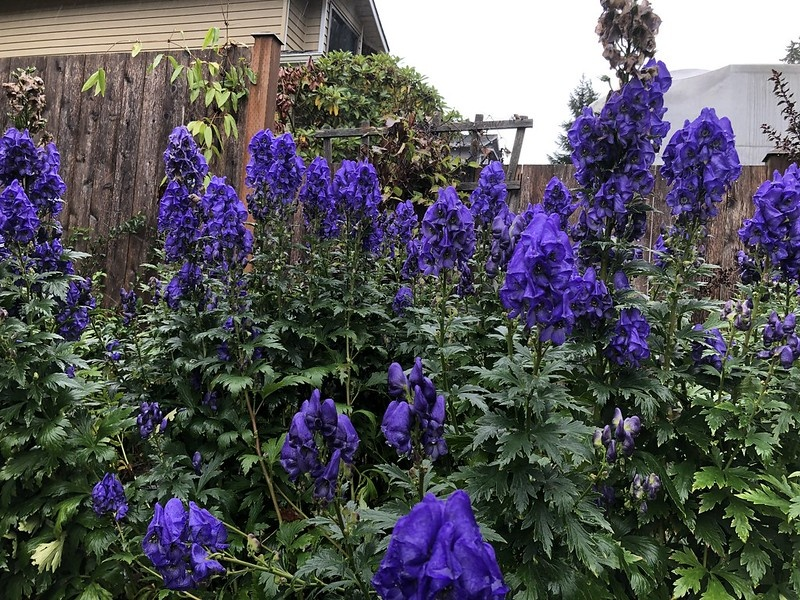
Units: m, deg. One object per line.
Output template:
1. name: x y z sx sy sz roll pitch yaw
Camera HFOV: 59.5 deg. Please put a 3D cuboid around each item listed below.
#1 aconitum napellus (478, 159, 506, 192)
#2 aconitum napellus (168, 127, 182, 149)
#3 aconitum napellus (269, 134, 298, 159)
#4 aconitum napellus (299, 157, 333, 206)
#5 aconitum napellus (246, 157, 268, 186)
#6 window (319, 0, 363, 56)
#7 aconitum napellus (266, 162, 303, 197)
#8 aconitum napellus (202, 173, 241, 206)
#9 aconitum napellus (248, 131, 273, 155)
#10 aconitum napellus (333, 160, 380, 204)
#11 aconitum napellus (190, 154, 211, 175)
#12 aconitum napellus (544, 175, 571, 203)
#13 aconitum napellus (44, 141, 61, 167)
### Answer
1. aconitum napellus: 0.837 -1.057 6.099 0.240 0.346 0.257 0 -4 -10
2. aconitum napellus: -1.924 -1.401 6.011 0.088 0.179 0.128 3 7 -33
3. aconitum napellus: -0.978 -1.320 5.999 0.188 0.214 0.221 -2 30 8
4. aconitum napellus: -0.719 -1.019 6.030 0.265 0.435 0.210 6 6 -8
5. aconitum napellus: -1.236 -1.112 6.092 0.198 0.237 0.102 -5 15 10
6. window: -1.465 -6.560 16.821 0.113 1.591 2.620 -8 18 20
7. aconitum napellus: -0.970 -1.027 5.952 0.268 0.309 0.284 1 7 -9
8. aconitum napellus: -1.480 -0.877 5.783 0.263 0.219 0.280 3 -4 -6
9. aconitum napellus: -1.190 -1.351 5.991 0.172 0.224 0.089 13 4 0
10. aconitum napellus: -0.368 -1.003 6.017 0.414 0.397 0.286 8 6 5
11. aconitum napellus: -1.760 -1.186 6.182 0.158 0.171 0.090 -16 31 -23
12. aconitum napellus: 1.378 -0.927 5.917 0.209 0.238 0.297 4 7 -33
13. aconitum napellus: -2.952 -1.221 5.912 0.109 0.207 0.173 4 7 -31
